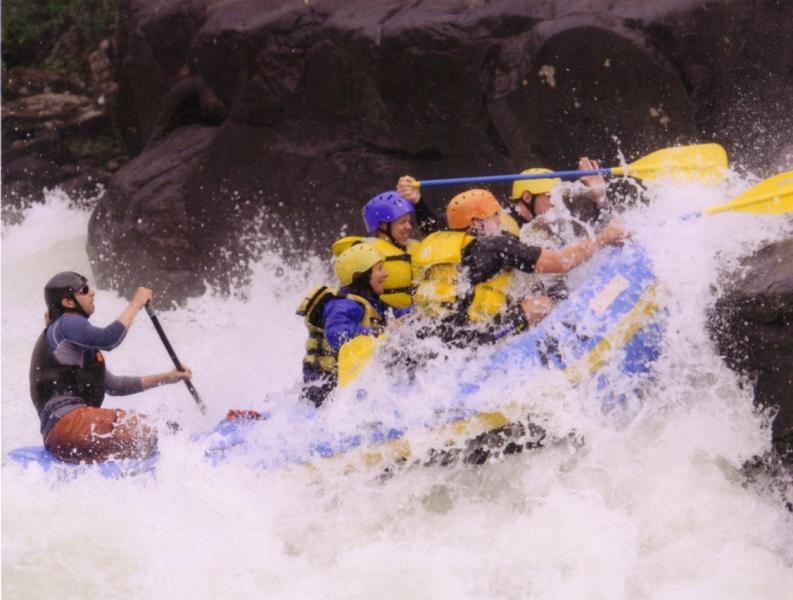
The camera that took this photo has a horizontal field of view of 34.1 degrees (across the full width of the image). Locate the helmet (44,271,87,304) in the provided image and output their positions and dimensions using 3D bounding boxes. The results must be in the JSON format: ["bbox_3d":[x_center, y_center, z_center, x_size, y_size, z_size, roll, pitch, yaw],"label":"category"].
[{"bbox_3d":[-1.999,-0.084,7.790,0.210,0.131,0.167,-27,19,-16],"label":"helmet"}]

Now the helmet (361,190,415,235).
[{"bbox_3d":[-0.059,-0.503,7.580,0.273,0.227,0.206,-5,5,15],"label":"helmet"}]

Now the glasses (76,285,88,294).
[{"bbox_3d":[-1.888,-0.054,7.782,0.036,0.028,0.056,28,73,44],"label":"glasses"}]

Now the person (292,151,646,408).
[{"bbox_3d":[0.354,-0.121,7.562,1.806,0.898,1.052,-21,22,-7],"label":"person"}]

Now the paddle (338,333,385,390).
[{"bbox_3d":[-0.248,0.335,7.279,0.386,0.152,0.093,-42,-13,-2],"label":"paddle"}]

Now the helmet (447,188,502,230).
[{"bbox_3d":[0.451,-0.513,7.378,0.276,0.188,0.201,-11,22,14],"label":"helmet"}]

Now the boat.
[{"bbox_3d":[0.122,0.528,7.502,2.759,0.415,1.356,-21,12,7],"label":"boat"}]
